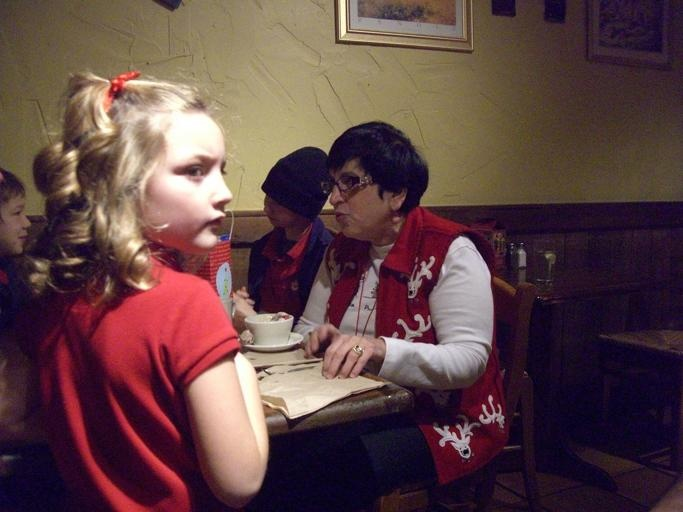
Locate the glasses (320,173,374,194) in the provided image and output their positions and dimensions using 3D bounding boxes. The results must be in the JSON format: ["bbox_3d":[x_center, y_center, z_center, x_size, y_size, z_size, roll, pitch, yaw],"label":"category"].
[{"bbox_3d":[0.022,-0.264,1.956,0.168,0.053,0.167,-4,1,-40],"label":"glasses"}]

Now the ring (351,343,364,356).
[{"bbox_3d":[0.049,0.262,1.503,0.025,0.026,0.006,3,-36,-34],"label":"ring"}]

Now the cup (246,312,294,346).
[{"bbox_3d":[-0.221,0.235,1.705,0.138,0.086,0.142,-1,4,0],"label":"cup"}]
